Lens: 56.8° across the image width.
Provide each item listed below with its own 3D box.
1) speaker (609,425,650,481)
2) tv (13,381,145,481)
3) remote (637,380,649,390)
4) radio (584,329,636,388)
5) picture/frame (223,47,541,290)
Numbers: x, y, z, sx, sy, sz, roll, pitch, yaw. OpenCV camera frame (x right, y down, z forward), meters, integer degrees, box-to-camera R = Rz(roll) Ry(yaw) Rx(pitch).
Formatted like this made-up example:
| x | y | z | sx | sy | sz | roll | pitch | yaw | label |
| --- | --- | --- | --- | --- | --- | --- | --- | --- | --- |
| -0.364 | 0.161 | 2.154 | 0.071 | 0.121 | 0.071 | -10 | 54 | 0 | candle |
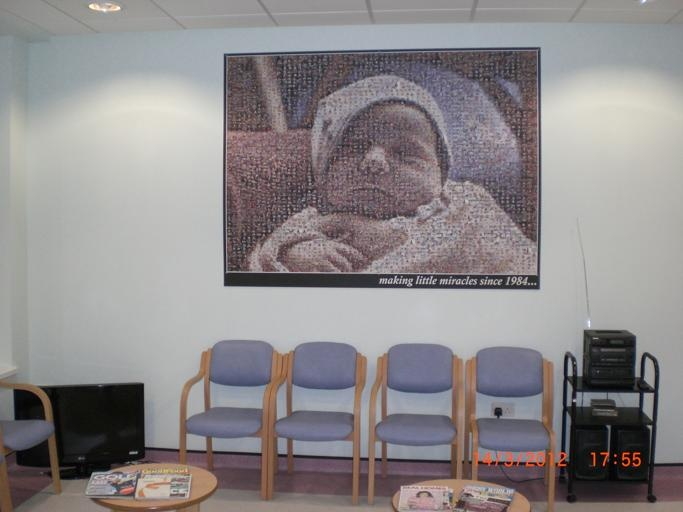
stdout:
| x | y | z | sx | sy | sz | roll | pitch | yaw | label |
| --- | --- | --- | --- | --- | --- | --- | --- | --- | --- |
| 2.340 | 1.609 | 5.220 | 0.303 | 0.540 | 0.404 | 0 | -3 | 8 | speaker |
| -2.236 | 1.477 | 5.359 | 0.751 | 0.594 | 0.231 | -2 | -6 | -8 | tv |
| 2.490 | 1.045 | 5.200 | 0.053 | 0.022 | 0.101 | -2 | 3 | 9 | remote |
| 2.205 | 0.843 | 5.332 | 0.388 | 0.462 | 0.433 | 0 | -2 | 13 | radio |
| 0.485 | -0.800 | 5.593 | 2.008 | 1.523 | 0.025 | 0 | -1 | 5 | picture/frame |
